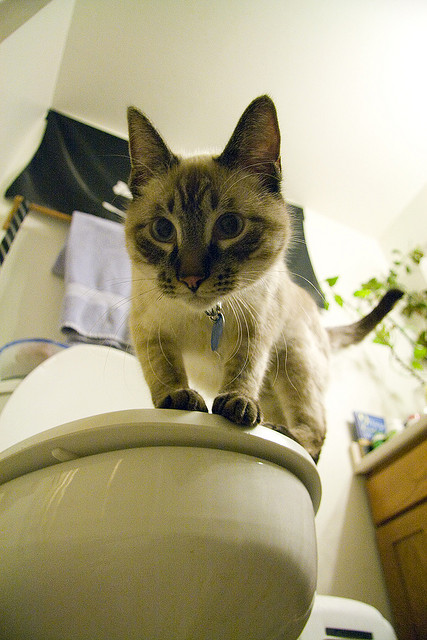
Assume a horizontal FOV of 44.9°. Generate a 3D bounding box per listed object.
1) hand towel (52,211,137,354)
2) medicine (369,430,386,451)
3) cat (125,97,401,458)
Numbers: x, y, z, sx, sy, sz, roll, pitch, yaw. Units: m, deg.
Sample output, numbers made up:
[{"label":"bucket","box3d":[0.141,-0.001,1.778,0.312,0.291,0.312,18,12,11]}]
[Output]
[{"label":"hand towel","box3d":[-0.233,-0.066,1.114,0.122,0.318,0.228,-2,10,-23]},{"label":"medicine","box3d":[0.373,0.273,1.161,0.023,0.042,0.022,12,48,17]},{"label":"cat","box3d":[0.074,-0.038,0.977,0.264,0.683,0.512,4,80,24]}]
